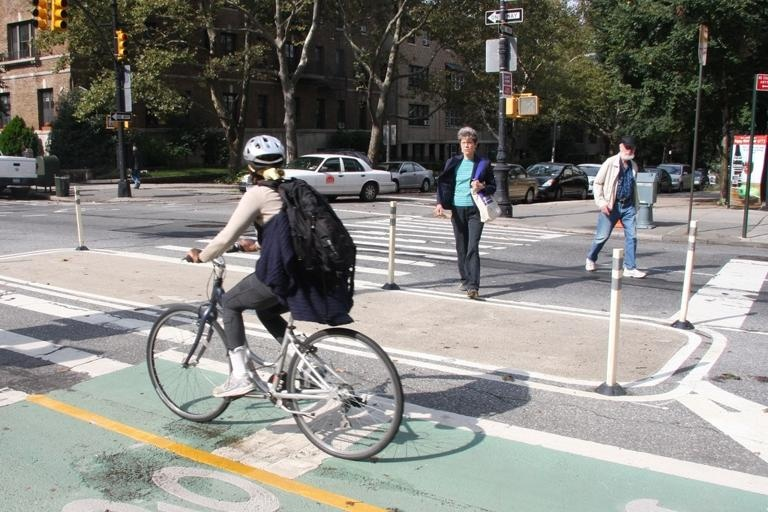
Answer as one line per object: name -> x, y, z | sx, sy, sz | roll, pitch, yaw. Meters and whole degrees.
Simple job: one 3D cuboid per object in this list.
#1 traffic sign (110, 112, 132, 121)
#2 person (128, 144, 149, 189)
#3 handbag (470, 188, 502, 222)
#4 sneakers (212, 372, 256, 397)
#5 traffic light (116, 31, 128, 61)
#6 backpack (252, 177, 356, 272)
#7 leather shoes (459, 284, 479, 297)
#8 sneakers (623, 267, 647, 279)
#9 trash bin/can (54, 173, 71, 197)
traffic sign -> -10.405, -5.513, 27.902 | 0.719, 0.331, 0.544 | -4, 16, -19
person -> -11.675, -4.043, 33.290 | 0.432, 1.730, 1.412 | -5, 16, -20
handbag -> 1.544, -0.720, 10.407 | 0.245, 0.436, 0.511 | -11, 19, -38
sneakers -> -1.321, 1.144, 6.232 | 0.421, 0.180, 0.153 | -11, -30, 23
traffic light -> -9.906, -7.969, 26.589 | 0.385, 1.049, 1.619 | -5, 16, -19
backpack -> -0.603, -0.232, 5.837 | 0.695, 0.685, 0.347 | 13, 20, 39
leather shoes -> 1.306, 0.528, 10.638 | 0.124, 0.129, 0.323 | 1, 8, -13
sneakers -> 4.362, 0.291, 12.303 | 0.400, 0.155, 0.172 | 1, 7, 28
trash bin/can -> -12.903, -2.782, 28.335 | 0.522, 0.830, 0.670 | -7, 17, -26
